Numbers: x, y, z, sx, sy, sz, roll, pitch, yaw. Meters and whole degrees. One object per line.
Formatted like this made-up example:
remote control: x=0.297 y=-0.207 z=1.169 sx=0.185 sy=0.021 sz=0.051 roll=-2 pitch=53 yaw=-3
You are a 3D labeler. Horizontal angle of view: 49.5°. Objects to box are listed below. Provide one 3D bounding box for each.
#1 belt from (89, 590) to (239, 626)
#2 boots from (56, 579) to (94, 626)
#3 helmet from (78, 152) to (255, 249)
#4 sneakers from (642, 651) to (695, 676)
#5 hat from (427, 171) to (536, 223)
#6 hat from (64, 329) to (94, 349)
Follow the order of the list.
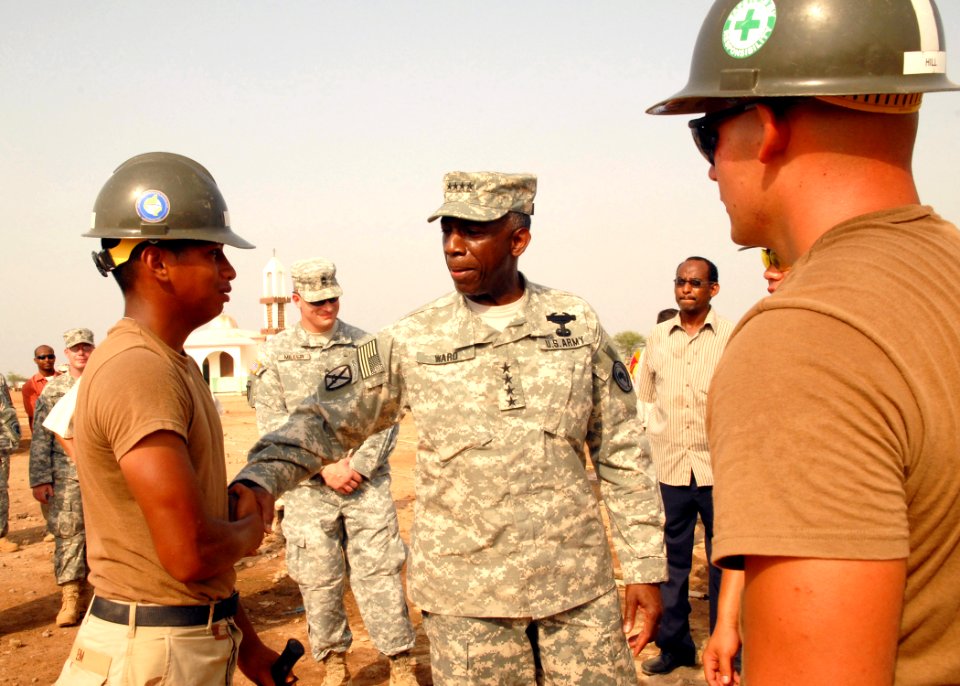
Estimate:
belt: x=-1.067 y=0.915 z=3.567 sx=0.490 sy=0.120 sz=0.200 roll=-1 pitch=-1 yaw=-19
boots: x=-3.112 y=1.955 z=7.970 sx=0.144 sy=0.303 sz=0.437 roll=-14 pitch=9 yaw=6
helmet: x=-1.153 y=-0.526 z=3.893 sx=0.619 sy=0.340 sz=0.506 roll=2 pitch=8 yaw=12
sneakers: x=1.127 y=1.933 z=6.297 sx=0.341 sy=0.145 sz=0.125 roll=2 pitch=2 yaw=-19
hat: x=-0.002 y=-0.662 z=4.737 sx=0.431 sy=0.219 sz=0.618 roll=7 pitch=16 yaw=40
hat: x=-2.970 y=-0.027 z=7.737 sx=0.224 sy=0.101 sz=0.330 roll=0 pitch=-1 yaw=-22
